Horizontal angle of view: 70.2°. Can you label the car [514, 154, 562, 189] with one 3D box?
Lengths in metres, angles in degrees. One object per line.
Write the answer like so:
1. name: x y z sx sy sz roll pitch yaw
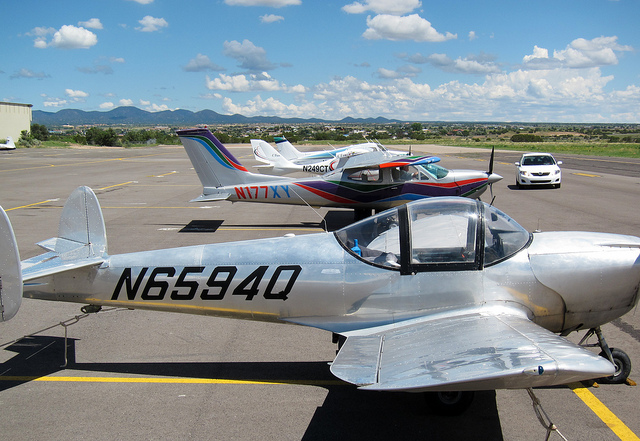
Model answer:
1. car: 11.981 -2.627 25.153 2.106 1.507 2.690 1 13 20
